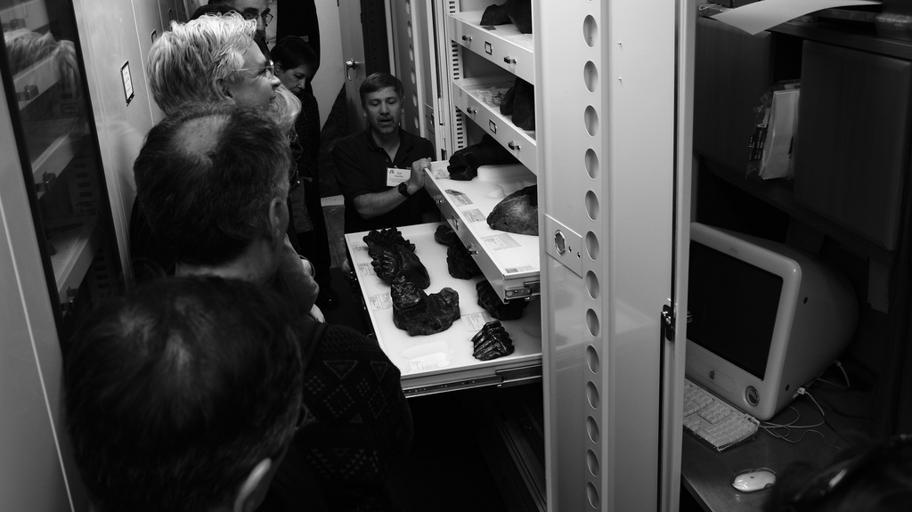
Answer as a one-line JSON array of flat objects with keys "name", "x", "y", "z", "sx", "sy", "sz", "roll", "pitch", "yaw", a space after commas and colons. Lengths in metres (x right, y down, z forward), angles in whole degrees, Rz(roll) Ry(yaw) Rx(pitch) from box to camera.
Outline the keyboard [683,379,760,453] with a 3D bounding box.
[{"name": "keyboard", "x": 0.984, "y": 0.625, "z": 2.550, "sx": 0.246, "sy": 0.033, "sz": 0.370, "roll": -20, "pitch": 32, "yaw": -24}]

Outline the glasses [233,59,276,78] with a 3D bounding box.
[{"name": "glasses", "x": -0.706, "y": -0.655, "z": 2.280, "sx": 0.098, "sy": 0.025, "sz": 0.094, "roll": -4, "pitch": 25, "yaw": -7}]

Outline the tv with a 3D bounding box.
[{"name": "tv", "x": 1.384, "y": 0.264, "z": 2.765, "sx": 0.658, "sy": 0.649, "sz": 0.821, "roll": -4, "pitch": 11, "yaw": -16}]

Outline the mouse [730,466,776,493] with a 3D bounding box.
[{"name": "mouse", "x": 1.047, "y": 0.775, "z": 2.253, "sx": 0.168, "sy": 0.033, "sz": 0.094, "roll": -8, "pitch": 29, "yaw": -4}]
